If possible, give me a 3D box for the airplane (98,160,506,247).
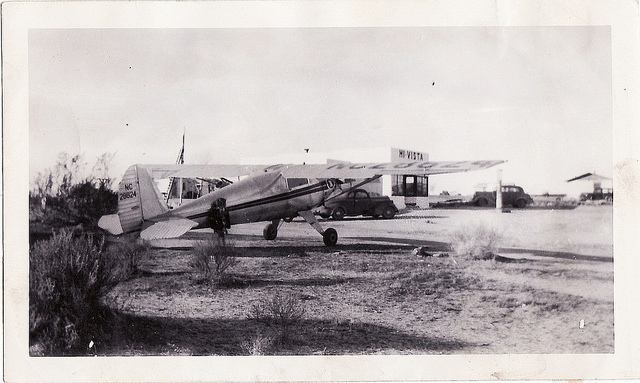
[{"bbox_3d":[-0.664,0.428,20.190,11.762,2.536,4.400,-1,-1,-3],"label":"airplane"}]

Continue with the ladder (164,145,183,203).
[{"bbox_3d":[-4.443,-0.522,19.752,0.087,1.889,0.247,20,11,-14],"label":"ladder"}]
